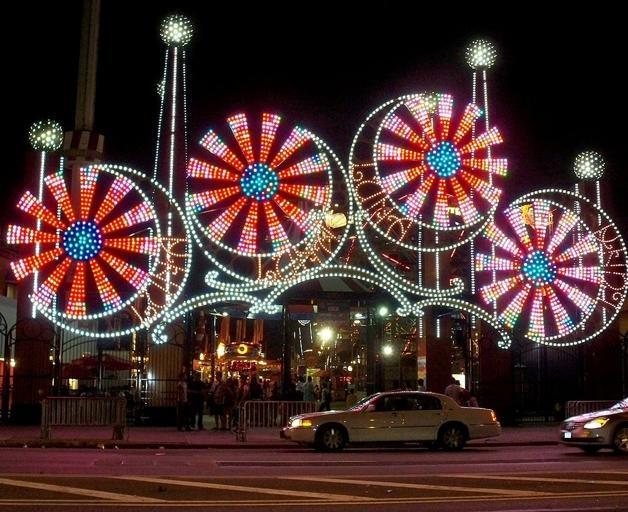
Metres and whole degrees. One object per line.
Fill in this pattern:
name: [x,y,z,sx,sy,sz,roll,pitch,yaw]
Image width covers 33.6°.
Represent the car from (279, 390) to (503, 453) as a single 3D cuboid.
car: [2.074,4.392,27.418,5.500,1.189,1.932,2,-10,-5]
